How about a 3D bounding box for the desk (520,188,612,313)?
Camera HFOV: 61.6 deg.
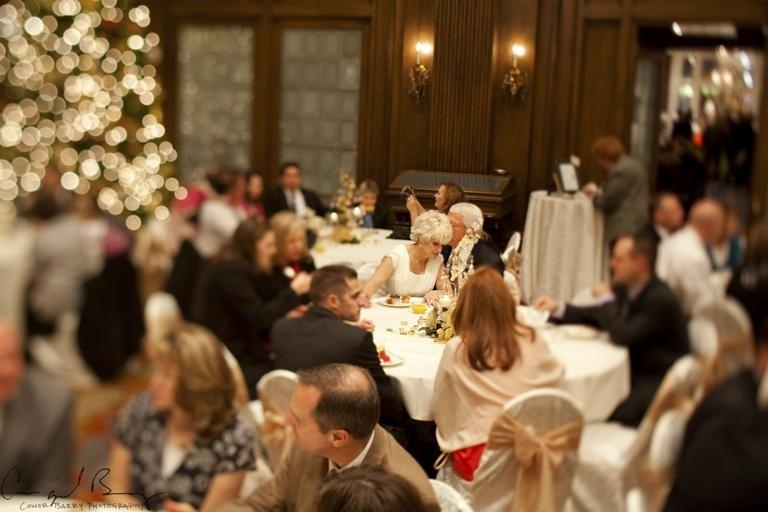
[{"bbox_3d":[1.135,-0.054,4.190,0.585,0.849,0.617,-2,11,-6],"label":"desk"}]
